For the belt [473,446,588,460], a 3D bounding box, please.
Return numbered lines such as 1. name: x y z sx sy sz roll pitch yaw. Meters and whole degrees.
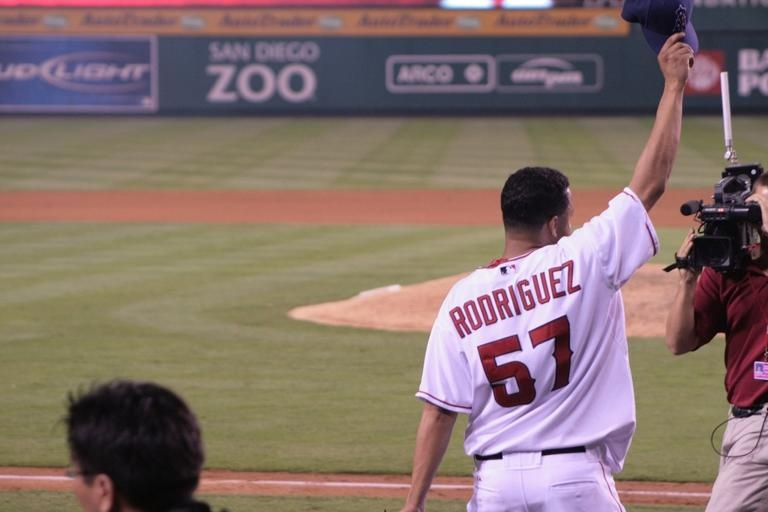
1. belt: 1.556 2.116 21.249 1.187 0.194 0.116 1 10 4
